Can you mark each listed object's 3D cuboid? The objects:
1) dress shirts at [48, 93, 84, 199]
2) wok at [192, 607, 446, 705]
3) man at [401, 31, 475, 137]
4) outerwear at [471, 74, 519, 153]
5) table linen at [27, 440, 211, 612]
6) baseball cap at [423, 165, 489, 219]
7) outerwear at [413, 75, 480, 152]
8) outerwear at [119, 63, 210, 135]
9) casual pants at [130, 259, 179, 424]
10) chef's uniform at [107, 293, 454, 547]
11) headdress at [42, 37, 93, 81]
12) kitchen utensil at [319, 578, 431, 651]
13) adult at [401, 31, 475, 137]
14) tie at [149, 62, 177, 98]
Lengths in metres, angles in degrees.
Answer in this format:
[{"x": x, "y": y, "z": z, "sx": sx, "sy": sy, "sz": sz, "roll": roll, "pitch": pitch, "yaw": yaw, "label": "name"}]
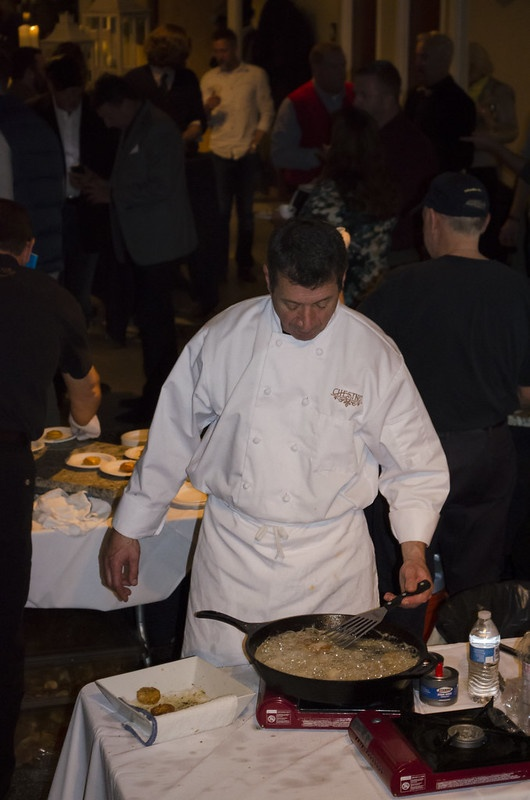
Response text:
[{"x": -0.969, "y": -1.232, "z": 3.459, "sx": 0.167, "sy": 0.329, "sz": 0.079, "roll": 7, "pitch": 20, "yaw": 14, "label": "dress shirts"}, {"x": 0.062, "y": 0.332, "z": 1.020, "sx": 0.269, "sy": 0.039, "sz": 0.175, "roll": 3, "pitch": 6, "yaw": 35, "label": "wok"}, {"x": 0.965, "y": -1.710, "z": 3.965, "sx": 0.236, "sy": 0.709, "sz": 0.428, "roll": -32, "pitch": 48, "yaw": -20, "label": "man"}, {"x": 1.330, "y": -1.685, "z": 4.203, "sx": 0.416, "sy": 0.414, "sz": 0.174, "roll": 0, "pitch": 8, "yaw": -6, "label": "outerwear"}, {"x": -0.490, "y": 0.386, "z": 1.999, "sx": 0.467, "sy": 0.114, "sz": 0.468, "roll": 10, "pitch": 23, "yaw": 13, "label": "table linen"}, {"x": 0.532, "y": -0.570, "z": 1.961, "sx": 0.170, "sy": 0.139, "sz": 0.153, "roll": -3, "pitch": 12, "yaw": 6, "label": "baseball cap"}, {"x": 1.008, "y": -1.629, "z": 3.927, "sx": 0.359, "sy": 0.314, "sz": 0.201, "roll": 4, "pitch": 32, "yaw": 3, "label": "outerwear"}, {"x": -0.521, "y": -1.568, "z": 3.669, "sx": 0.442, "sy": 0.151, "sz": 0.435, "roll": 0, "pitch": 1, "yaw": 0, "label": "outerwear"}, {"x": -0.599, "y": -0.390, "z": 3.885, "sx": 0.244, "sy": 0.216, "sz": 0.952, "roll": -7, "pitch": 49, "yaw": -2, "label": "casual pants"}, {"x": 0.046, "y": 0.042, "z": 1.378, "sx": 0.630, "sy": 0.474, "sz": 0.298, "roll": 7, "pitch": 20, "yaw": 5, "label": "chef's uniform"}, {"x": -0.955, "y": -1.651, "z": 3.376, "sx": 0.152, "sy": 0.141, "sz": 0.144, "roll": -16, "pitch": -20, "yaw": -15, "label": "headdress"}, {"x": 0.189, "y": 0.354, "z": 1.171, "sx": 0.063, "sy": 0.036, "sz": 0.266, "roll": 27, "pitch": 39, "yaw": 35, "label": "kitchen utensil"}, {"x": 0.926, "y": -1.729, "z": 3.840, "sx": 0.235, "sy": 0.658, "sz": 0.407, "roll": -20, "pitch": 42, "yaw": 2, "label": "adult"}, {"x": -0.507, "y": -1.603, "z": 3.521, "sx": 0.083, "sy": 0.137, "sz": 0.137, "roll": -2, "pitch": -3, "yaw": -2, "label": "tie"}]
